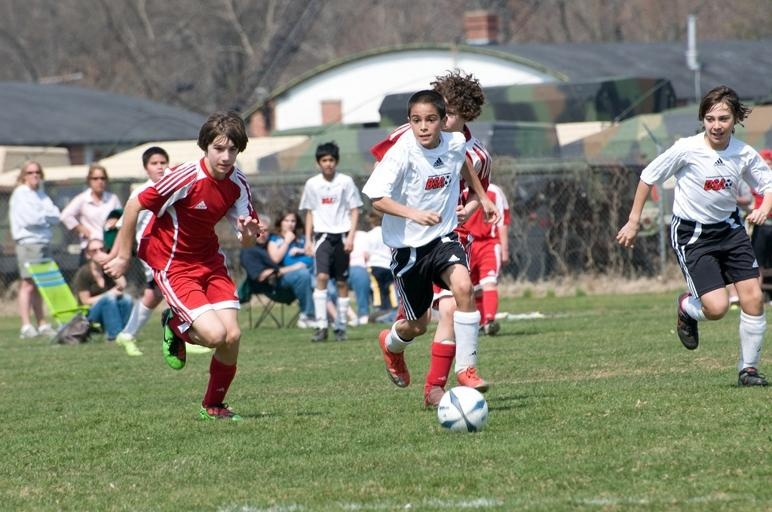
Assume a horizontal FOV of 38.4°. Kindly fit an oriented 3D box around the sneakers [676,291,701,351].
[{"bbox_3d":[3.057,0.723,11.271,0.210,0.664,0.280,-6,11,1],"label":"sneakers"}]

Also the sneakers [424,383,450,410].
[{"bbox_3d":[0.452,1.281,10.116,0.147,0.248,0.241,2,-8,-5],"label":"sneakers"}]

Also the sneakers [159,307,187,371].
[{"bbox_3d":[-1.972,0.798,10.283,0.198,0.608,0.238,-10,15,-10],"label":"sneakers"}]

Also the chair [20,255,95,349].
[{"bbox_3d":[-4.399,0.645,14.838,0.809,1.151,0.690,-9,16,45],"label":"chair"}]

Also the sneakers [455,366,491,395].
[{"bbox_3d":[0.758,1.112,9.935,0.134,0.172,0.369,-2,3,-41],"label":"sneakers"}]

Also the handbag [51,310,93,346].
[{"bbox_3d":[-4.039,0.951,14.281,0.435,0.428,0.324,2,-6,-31],"label":"handbag"}]

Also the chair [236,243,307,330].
[{"bbox_3d":[-1.695,0.431,15.446,1.018,1.224,1.042,1,0,44],"label":"chair"}]

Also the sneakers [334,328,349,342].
[{"bbox_3d":[-0.581,1.004,14.118,0.142,0.151,0.140,-2,-6,0],"label":"sneakers"}]

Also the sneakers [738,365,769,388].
[{"bbox_3d":[3.395,1.133,10.321,0.132,0.142,0.303,1,-6,-25],"label":"sneakers"}]

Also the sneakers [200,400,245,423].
[{"bbox_3d":[-1.492,1.425,10.123,0.379,0.170,0.156,0,-1,6],"label":"sneakers"}]

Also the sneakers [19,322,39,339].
[{"bbox_3d":[-4.822,1.010,14.924,0.316,0.151,0.140,-1,-1,36],"label":"sneakers"}]

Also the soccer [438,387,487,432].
[{"bbox_3d":[0.656,1.318,9.680,0.374,0.380,0.370,4,-4,-11],"label":"soccer"}]

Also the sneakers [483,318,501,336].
[{"bbox_3d":[1.327,0.909,13.927,0.109,0.146,0.303,2,-19,-10],"label":"sneakers"}]

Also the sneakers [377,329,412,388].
[{"bbox_3d":[0.035,1.013,10.451,0.215,0.611,0.251,-28,19,-33],"label":"sneakers"}]

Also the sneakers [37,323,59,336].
[{"bbox_3d":[-4.596,1.009,15.199,0.131,0.146,0.342,1,0,19],"label":"sneakers"}]
